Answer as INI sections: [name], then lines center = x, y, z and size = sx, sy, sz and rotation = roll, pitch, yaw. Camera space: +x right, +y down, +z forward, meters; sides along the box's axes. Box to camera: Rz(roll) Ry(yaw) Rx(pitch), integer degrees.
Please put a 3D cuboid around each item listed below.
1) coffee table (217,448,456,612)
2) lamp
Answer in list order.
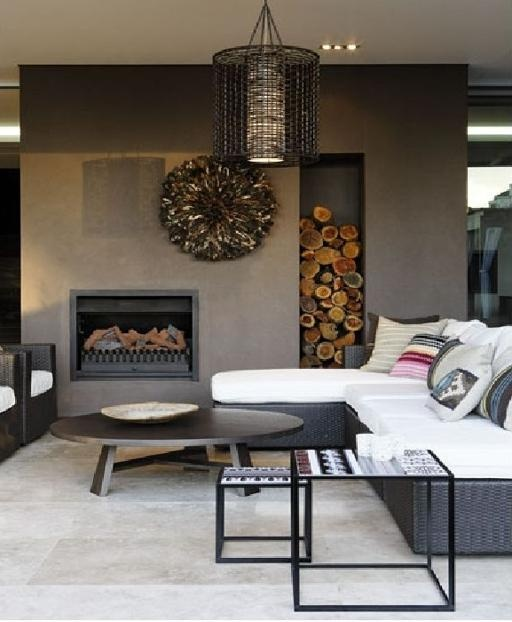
[coffee table]
center = 0.254, 0.718, 2.272
size = 0.731, 0.331, 0.484
rotation = 1, 0, 1
[lamp]
center = 0.051, -1.281, 3.815
size = 0.606, 0.875, 0.974
rotation = 0, 0, 4
